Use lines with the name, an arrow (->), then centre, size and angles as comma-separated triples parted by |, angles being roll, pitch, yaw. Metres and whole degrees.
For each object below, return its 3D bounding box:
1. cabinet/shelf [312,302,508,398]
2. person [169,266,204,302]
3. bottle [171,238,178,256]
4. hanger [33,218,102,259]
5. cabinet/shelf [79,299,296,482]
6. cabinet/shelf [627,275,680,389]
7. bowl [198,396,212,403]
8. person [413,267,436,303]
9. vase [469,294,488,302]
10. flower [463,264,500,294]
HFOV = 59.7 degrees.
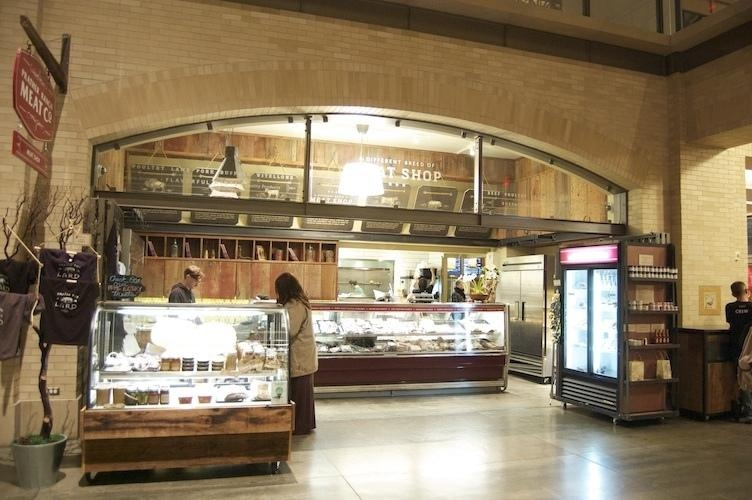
cabinet/shelf -> 0.659, 1.777, 11.876 | 3.532, 1.668, 0.451 | 0, 6, -12
person -> -3.037, 0.577, 10.557 | 0.427, 0.693, 0.719 | 12, 0, 1
bottle -> -4.196, -0.067, 13.658 | 0.135, 0.362, 0.284 | -1, 7, -17
hanger -> -4.438, -0.097, 9.518 | 0.719, 0.427, 0.608 | 1, -1, -26
cabinet/shelf -> -2.719, 1.801, 9.012 | 2.796, 2.204, 1.670 | 4, -6, -25
cabinet/shelf -> 4.429, 1.192, 10.544 | 1.010, 1.804, 0.365 | -1, 7, -21
bowl -> -2.196, 1.920, 8.399 | 0.159, 0.102, 0.085 | 1, 3, -8
person -> 1.240, 0.798, 16.320 | 0.733, 0.835, 0.844 | -2, 5, -5
vase -> 1.945, 0.894, 12.469 | 0.357, 0.177, 0.278 | 3, 7, 18
flower -> 2.008, 0.561, 12.616 | 0.639, 0.439, 0.633 | -2, -8, 25
